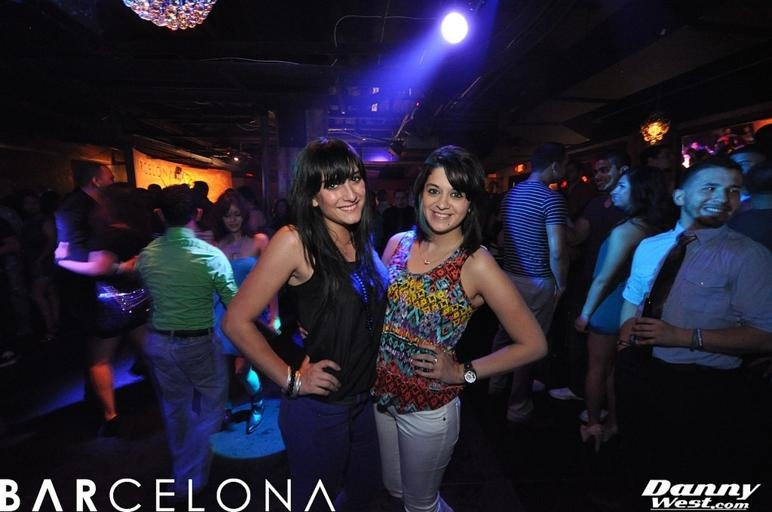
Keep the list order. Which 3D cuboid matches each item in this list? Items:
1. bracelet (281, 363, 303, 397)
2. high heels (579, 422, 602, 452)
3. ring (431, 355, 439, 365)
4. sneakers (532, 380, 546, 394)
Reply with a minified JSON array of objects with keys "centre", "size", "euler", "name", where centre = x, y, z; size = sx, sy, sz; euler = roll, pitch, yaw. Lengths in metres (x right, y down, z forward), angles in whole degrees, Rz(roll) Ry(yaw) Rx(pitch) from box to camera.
[{"centre":[-0.686,0.933,3.608],"size":[0.126,0.217,0.077],"euler":[3,7,-8],"name":"bracelet"},{"centre":[2.173,1.894,5.156],"size":[0.191,0.294,0.161],"euler":[5,29,23],"name":"high heels"},{"centre":[0.366,0.781,3.659],"size":[0.058,0.074,0.026],"euler":[1,-2,3],"name":"ring"},{"centre":[1.907,1.640,6.115],"size":[0.185,0.063,0.173],"euler":[6,42,17],"name":"sneakers"}]
